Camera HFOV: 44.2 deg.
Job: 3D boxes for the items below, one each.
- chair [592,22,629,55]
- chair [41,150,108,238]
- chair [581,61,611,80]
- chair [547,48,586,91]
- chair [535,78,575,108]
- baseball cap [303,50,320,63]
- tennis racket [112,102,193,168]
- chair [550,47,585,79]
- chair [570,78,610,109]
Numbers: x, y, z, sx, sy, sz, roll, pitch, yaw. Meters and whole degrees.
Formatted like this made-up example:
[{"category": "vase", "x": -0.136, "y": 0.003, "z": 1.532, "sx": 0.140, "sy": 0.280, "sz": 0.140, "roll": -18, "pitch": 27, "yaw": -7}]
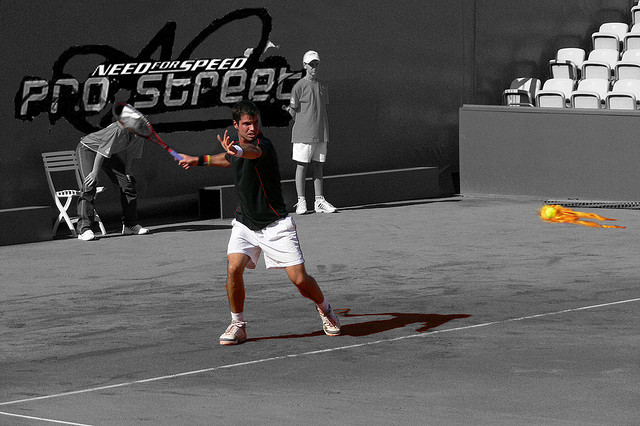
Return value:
[{"category": "chair", "x": 7.421, "y": -4.510, "z": 20.135, "sx": 0.928, "sy": 1.174, "sz": 1.026, "roll": 3, "pitch": 11, "yaw": 20}, {"category": "chair", "x": -4.098, "y": -0.312, "z": 13.076, "sx": 0.802, "sy": 1.389, "sz": 0.839, "roll": -6, "pitch": 13, "yaw": -19}, {"category": "chair", "x": 6.416, "y": -3.316, "z": 18.369, "sx": 0.648, "sy": 0.415, "sz": 0.567, "roll": 2, "pitch": 12, "yaw": 17}, {"category": "chair", "x": 5.914, "y": -3.251, "z": 19.163, "sx": 0.873, "sy": 1.248, "sz": 1.102, "roll": 2, "pitch": 6, "yaw": 20}, {"category": "chair", "x": 5.355, "y": -2.804, "z": 17.883, "sx": 0.829, "sy": 1.117, "sz": 1.175, "roll": 2, "pitch": 5, "yaw": 18}, {"category": "baseball cap", "x": -0.165, "y": -2.869, "z": 14.468, "sx": 0.256, "sy": 0.189, "sz": 0.350, "roll": -3, "pitch": 5, "yaw": -13}, {"category": "tennis racket", "x": -2.676, "y": -1.227, "z": 12.521, "sx": 0.272, "sy": 1.508, "sz": 0.429, "roll": -35, "pitch": 24, "yaw": 38}, {"category": "chair", "x": 5.993, "y": -3.644, "z": 19.147, "sx": 0.777, "sy": 1.050, "sz": 1.100, "roll": 0, "pitch": -9, "yaw": 16}, {"category": "chair", "x": 5.796, "y": -2.560, "z": 17.017, "sx": 0.839, "sy": 0.734, "sz": 1.235, "roll": 4, "pitch": 14, "yaw": 22}]
